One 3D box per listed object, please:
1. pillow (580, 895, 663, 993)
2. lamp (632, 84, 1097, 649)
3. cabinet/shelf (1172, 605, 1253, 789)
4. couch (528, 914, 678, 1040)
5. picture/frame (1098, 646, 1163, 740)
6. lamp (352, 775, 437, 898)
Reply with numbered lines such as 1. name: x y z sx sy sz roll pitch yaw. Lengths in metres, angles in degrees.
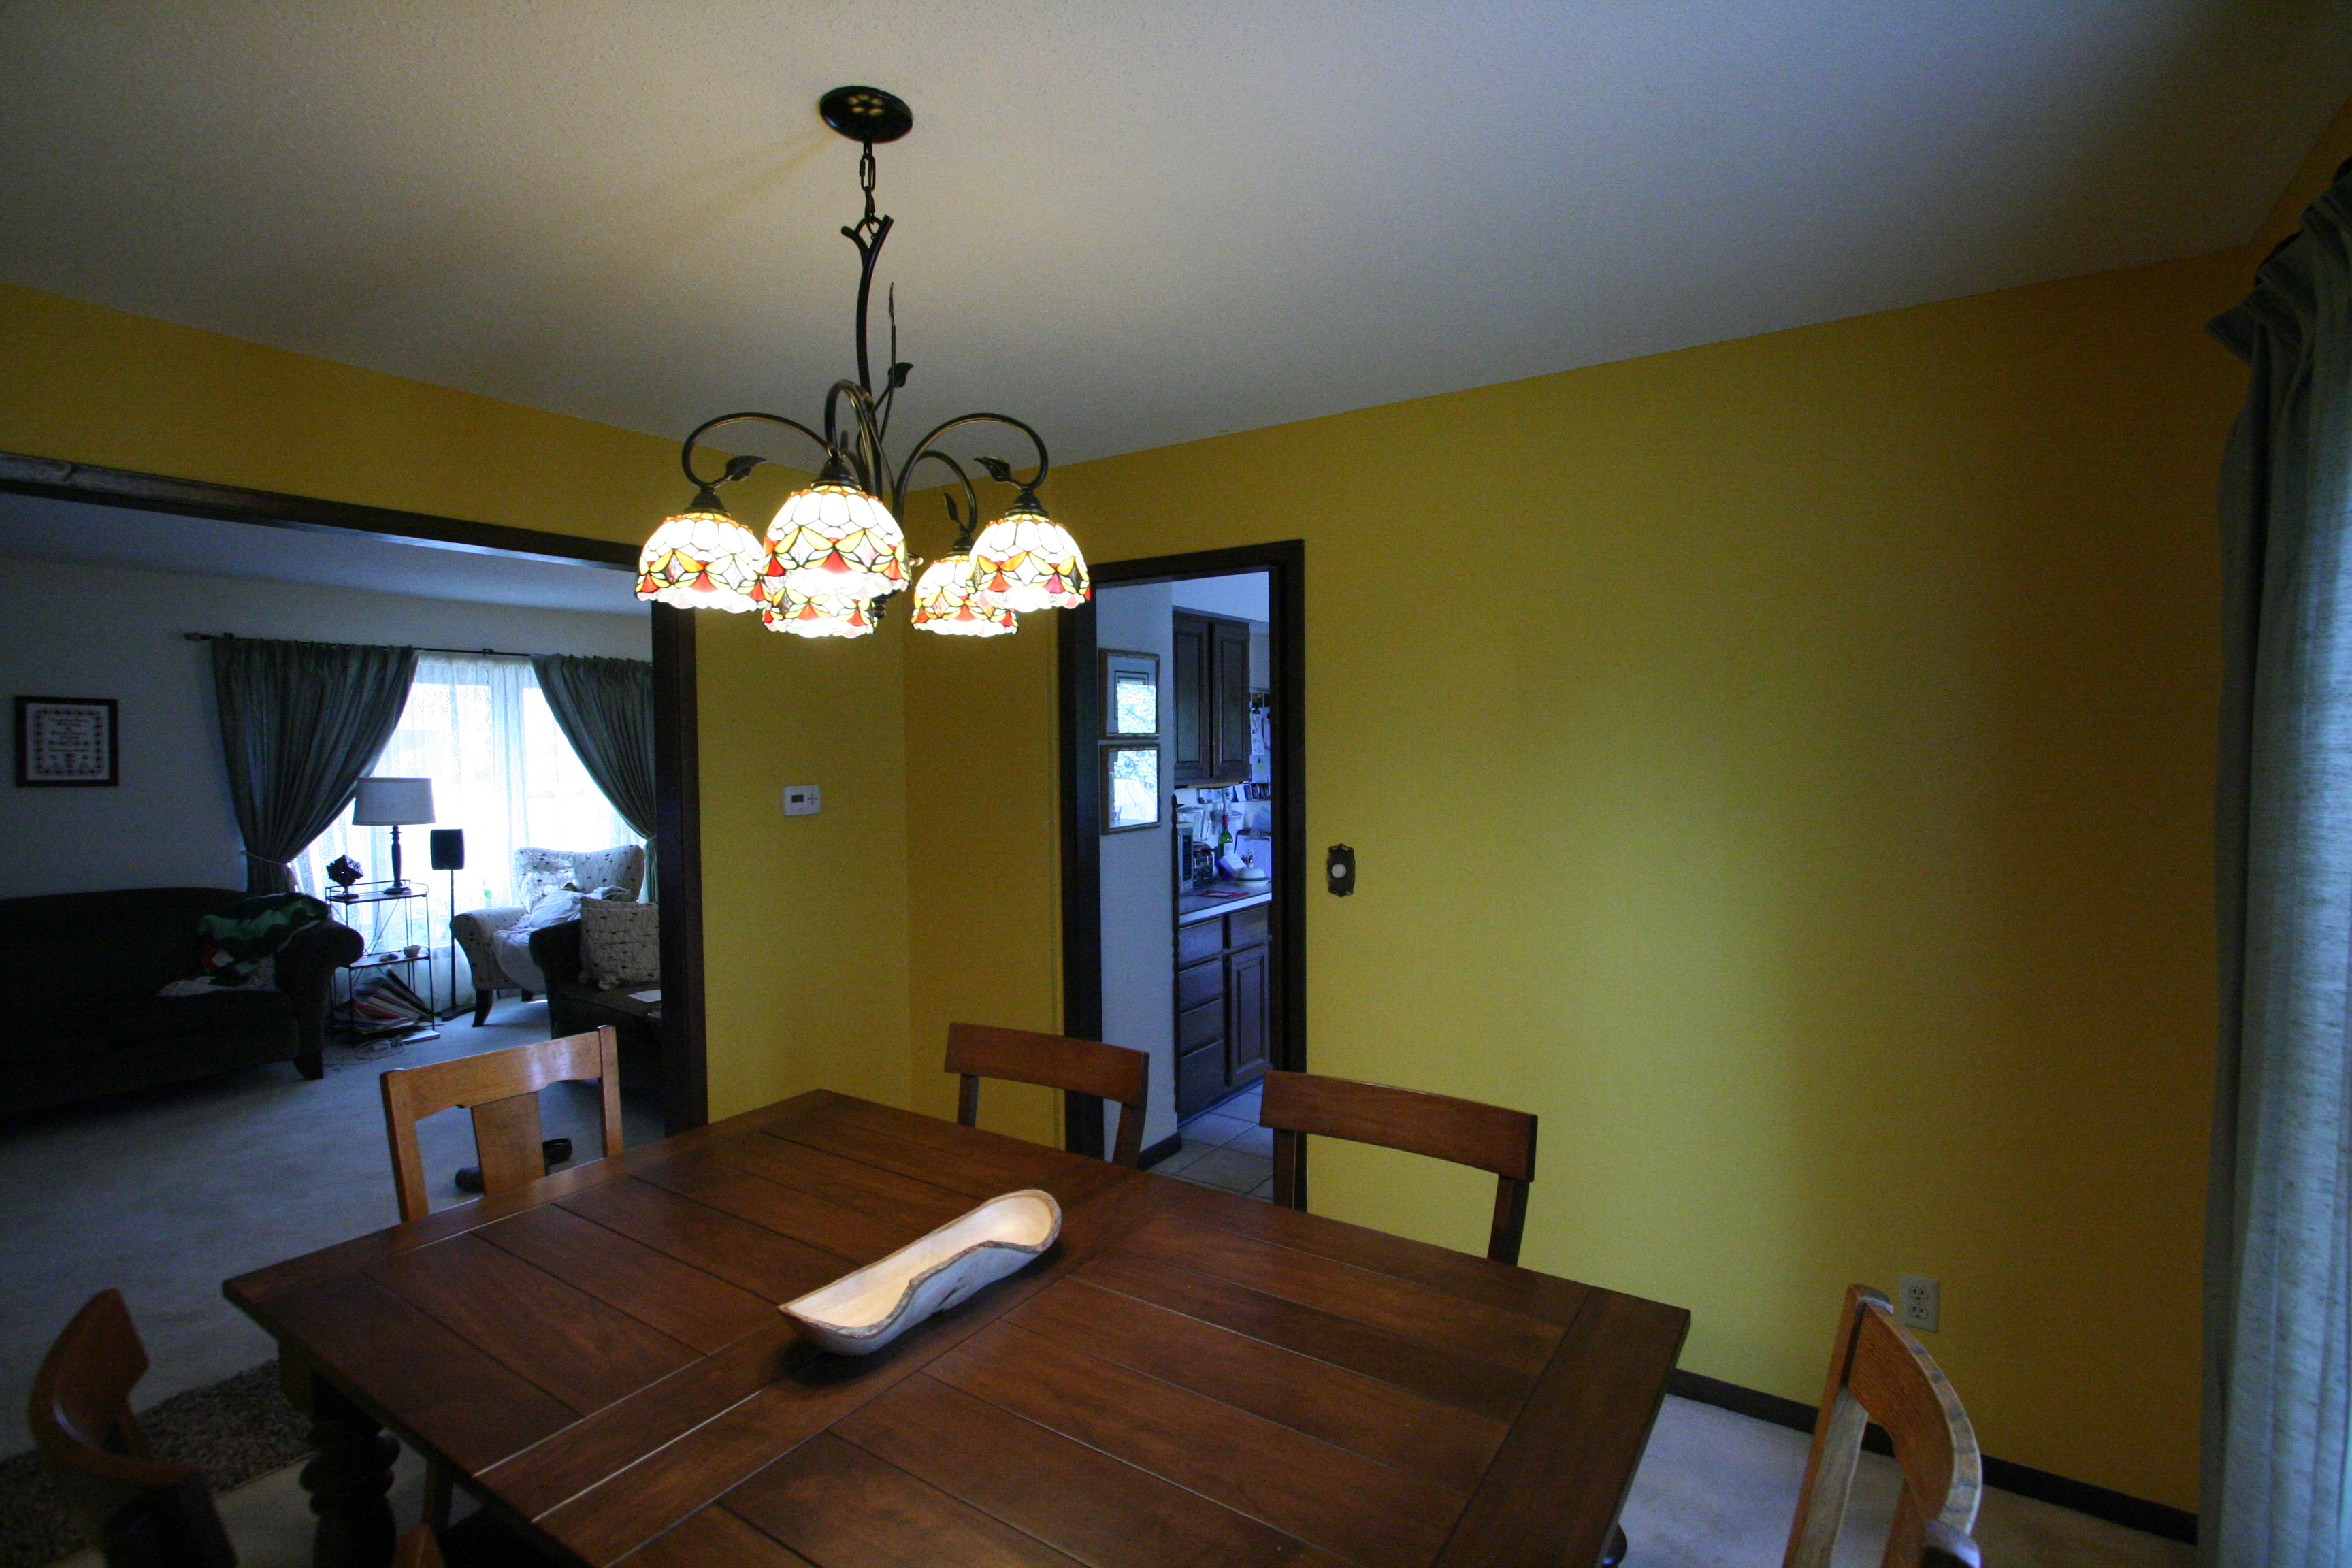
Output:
1. pillow: -2.391 0.717 7.148 0.447 0.434 0.138 -4 -3 -23
2. lamp: -0.733 -1.087 4.207 1.140 1.256 1.027 3 2 37
3. cabinet/shelf: 0.151 -0.362 7.240 0.311 0.757 0.809 -3 -5 24
4. couch: -2.351 0.812 6.843 0.486 0.451 0.526 -17 -34 25
5. picture/frame: -0.162 -0.337 6.312 0.041 0.334 0.517 0 3 20
6. lamp: -4.007 0.282 8.486 0.539 0.811 0.529 -2 3 -24
